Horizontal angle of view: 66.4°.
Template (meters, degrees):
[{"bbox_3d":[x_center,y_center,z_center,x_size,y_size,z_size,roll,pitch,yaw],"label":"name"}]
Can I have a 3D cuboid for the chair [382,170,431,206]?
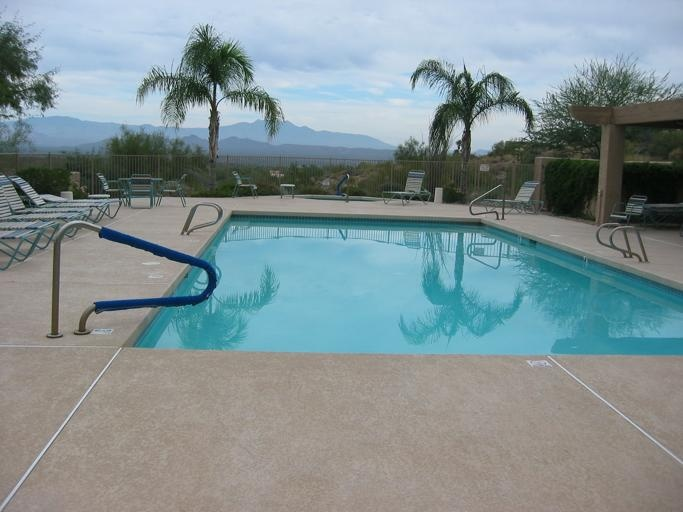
[{"bbox_3d":[2.376,-2.286,17.741,1.930,1.705,1.093,-7,10,-42],"label":"chair"}]

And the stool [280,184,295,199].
[{"bbox_3d":[-2.133,-2.513,20.153,0.697,0.807,0.694,0,3,-11],"label":"stool"}]

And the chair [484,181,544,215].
[{"bbox_3d":[4.881,-1.592,14.781,0.727,0.761,1.281,-2,3,-31],"label":"chair"}]
